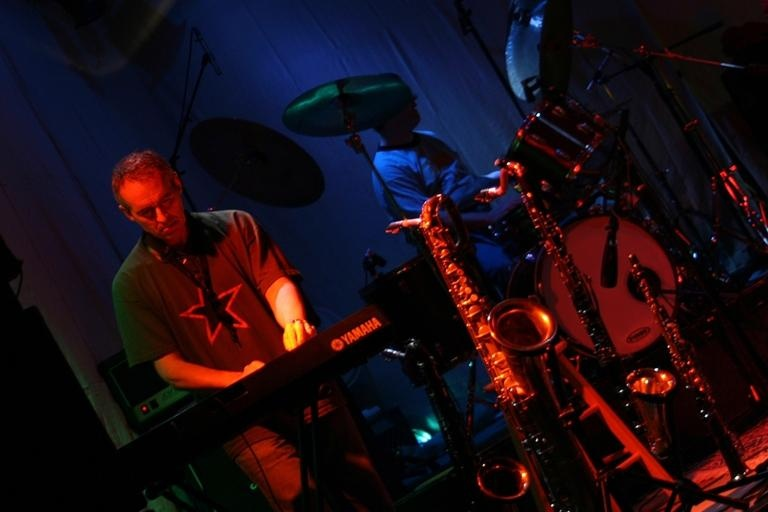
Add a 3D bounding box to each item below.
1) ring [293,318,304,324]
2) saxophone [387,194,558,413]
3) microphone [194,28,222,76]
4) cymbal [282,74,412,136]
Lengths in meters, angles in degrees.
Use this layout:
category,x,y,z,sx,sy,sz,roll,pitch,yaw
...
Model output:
category,x,y,z,sx,sy,sz,roll,pitch,yaw
ring,-0.554,0.404,4.267,0.034,0.025,0.034,-6,-22,-2
saxophone,0.508,0.302,4.561,0.433,1.609,0.440,-21,-15,2
microphone,-1.656,-1.921,6.394,0.132,0.517,0.140,-17,12,47
cymbal,-0.284,-1.249,5.590,0.856,0.579,0.946,-4,9,-8
